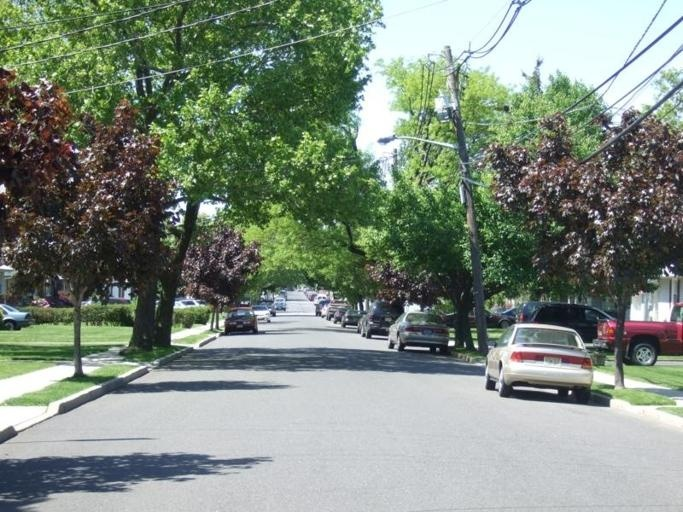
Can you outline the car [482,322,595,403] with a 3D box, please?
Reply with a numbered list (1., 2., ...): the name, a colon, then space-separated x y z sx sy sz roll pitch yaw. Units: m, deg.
1. car: 4.914 2.602 19.208 2.449 1.837 1.559 2 -6 18
